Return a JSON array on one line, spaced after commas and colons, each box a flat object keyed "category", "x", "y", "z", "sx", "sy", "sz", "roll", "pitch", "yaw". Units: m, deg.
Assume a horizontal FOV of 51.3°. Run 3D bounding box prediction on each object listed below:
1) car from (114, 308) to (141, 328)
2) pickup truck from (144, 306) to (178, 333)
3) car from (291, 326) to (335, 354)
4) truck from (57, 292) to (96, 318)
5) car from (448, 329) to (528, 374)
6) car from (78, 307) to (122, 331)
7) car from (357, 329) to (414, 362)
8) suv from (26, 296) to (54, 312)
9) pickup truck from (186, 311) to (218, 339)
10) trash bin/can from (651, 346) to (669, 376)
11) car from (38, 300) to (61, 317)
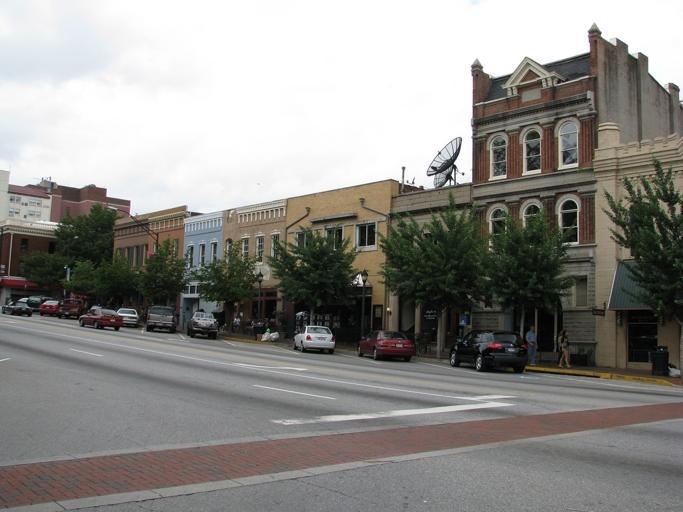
[{"category": "car", "x": -15.990, "y": 4.743, "z": 53.600, "sx": 1.421, "sy": 1.083, "sz": 3.242, "roll": 1, "pitch": 0, "yaw": -14}, {"category": "pickup truck", "x": -12.535, "y": 4.438, "z": 49.671, "sx": 1.847, "sy": 1.907, "sz": 1.291, "roll": 2, "pitch": -1, "yaw": -24}, {"category": "car", "x": -1.345, "y": 4.438, "z": 37.866, "sx": 1.806, "sy": 1.386, "sz": 1.856, "roll": 2, "pitch": -1, "yaw": -9}, {"category": "truck", "x": -24.532, "y": 4.566, "z": 66.249, "sx": 2.188, "sy": 1.834, "sz": 3.519, "roll": 0, "pitch": -2, "yaw": 13}, {"category": "car", "x": 6.460, "y": 3.989, "z": 30.313, "sx": 2.687, "sy": 1.488, "sz": 4.253, "roll": 2, "pitch": -2, "yaw": -19}, {"category": "car", "x": -15.966, "y": 4.175, "z": 47.601, "sx": 2.228, "sy": 1.555, "sz": 3.168, "roll": 2, "pitch": -2, "yaw": -33}, {"category": "car", "x": 2.015, "y": 4.337, "z": 34.310, "sx": 1.230, "sy": 0.901, "sz": 2.723, "roll": 2, "pitch": -3, "yaw": -15}, {"category": "suv", "x": -29.474, "y": 4.927, "z": 69.026, "sx": 1.792, "sy": 1.361, "sz": 2.978, "roll": 1, "pitch": 4, "yaw": -2}, {"category": "pickup truck", "x": -9.231, "y": 4.622, "z": 47.504, "sx": 1.758, "sy": 1.761, "sz": 1.495, "roll": 1, "pitch": -1, "yaw": 32}, {"category": "trash bin/can", "x": 12.860, "y": 4.261, "z": 28.642, "sx": 0.650, "sy": 0.902, "sz": 0.794, "roll": 1, "pitch": -1, "yaw": 22}, {"category": "car", "x": -26.656, "y": 4.770, "z": 65.062, "sx": 1.424, "sy": 1.012, "sz": 3.079, "roll": 2, "pitch": 1, "yaw": -7}]
